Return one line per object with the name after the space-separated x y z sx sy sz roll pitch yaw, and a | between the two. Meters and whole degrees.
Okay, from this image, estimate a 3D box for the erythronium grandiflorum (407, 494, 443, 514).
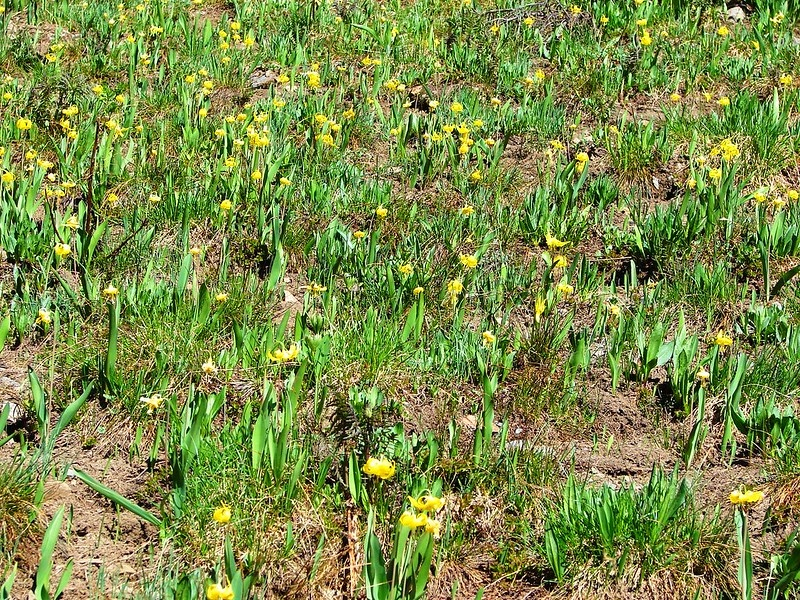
0.113 0.885 4.188 0.104 0.088 0.157 10 -14 -14 | erythronium grandiflorum

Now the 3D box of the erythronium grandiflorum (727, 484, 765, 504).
1.629 0.910 4.463 0.110 0.081 0.129 -1 -14 14 | erythronium grandiflorum
